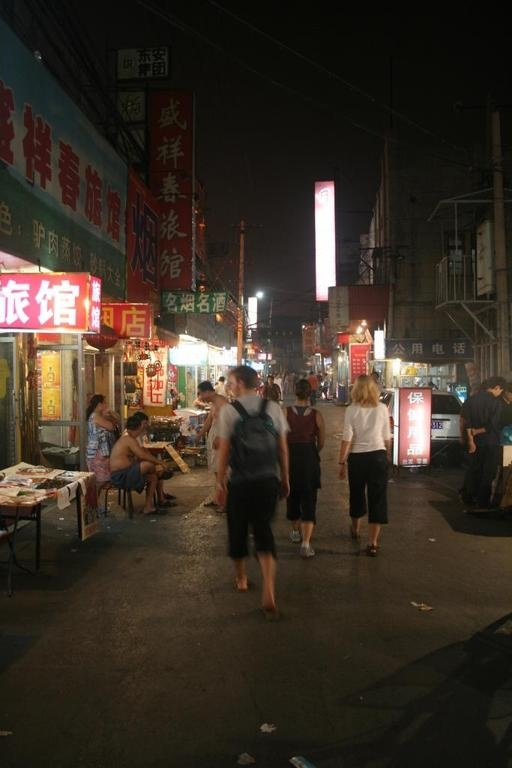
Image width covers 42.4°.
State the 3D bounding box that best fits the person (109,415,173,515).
[{"bbox_3d":[-1.476,1.036,8.739,0.626,1.332,1.029,0,-1,16],"label":"person"}]

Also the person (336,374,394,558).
[{"bbox_3d":[1.109,0.795,6.700,0.485,1.782,0.497,0,-1,10],"label":"person"}]

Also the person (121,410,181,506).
[{"bbox_3d":[-1.460,1.010,8.617,0.851,1.350,0.736,-1,-9,-36],"label":"person"}]

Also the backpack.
[{"bbox_3d":[0.044,0.432,4.968,0.354,0.570,0.316,-4,5,-4],"label":"backpack"}]

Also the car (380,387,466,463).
[{"bbox_3d":[3.902,0.705,14.666,1.374,1.355,2.663,3,8,9],"label":"car"}]
